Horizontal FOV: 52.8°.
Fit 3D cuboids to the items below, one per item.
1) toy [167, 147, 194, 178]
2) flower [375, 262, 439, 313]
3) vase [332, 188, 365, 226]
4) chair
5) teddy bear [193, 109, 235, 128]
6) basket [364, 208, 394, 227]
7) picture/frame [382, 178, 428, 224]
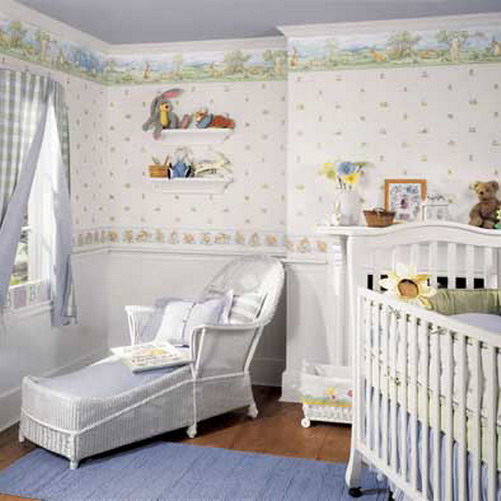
[{"bbox_3d":[-0.558,-0.689,4.034,0.168,0.271,0.101,-7,-12,19],"label":"toy"},{"bbox_3d":[0.659,0.141,2.147,0.209,0.082,0.196,-40,22,-24],"label":"flower"},{"bbox_3d":[0.598,-0.282,3.324,0.178,0.289,0.232,1,-5,-4],"label":"vase"},{"bbox_3d":[-0.542,0.622,3.237,0.780,1.093,1.628,2,0,42],"label":"chair"},{"bbox_3d":[-0.296,-0.997,3.943,0.337,0.186,0.141,7,6,13],"label":"teddy bear"},{"bbox_3d":[0.808,-0.200,3.174,0.142,0.112,0.121,-1,2,2],"label":"basket"},{"bbox_3d":[1.029,-0.324,3.325,0.282,0.358,0.025,0,-5,8],"label":"picture/frame"}]
